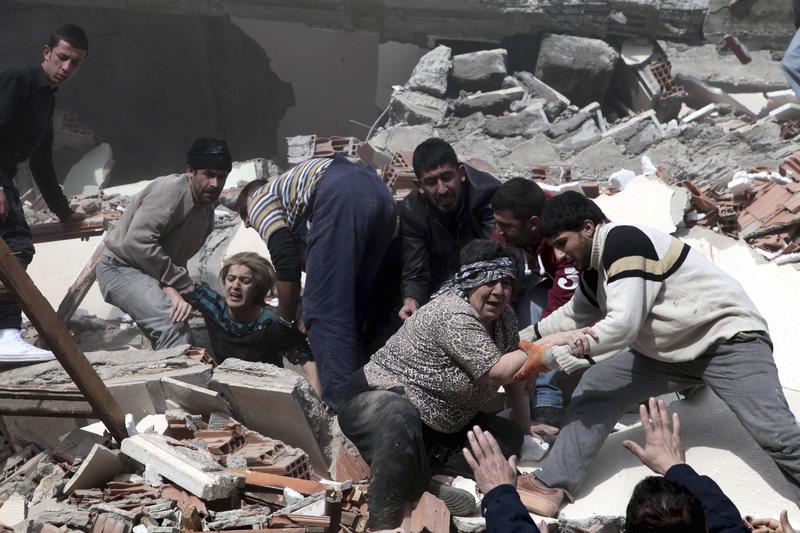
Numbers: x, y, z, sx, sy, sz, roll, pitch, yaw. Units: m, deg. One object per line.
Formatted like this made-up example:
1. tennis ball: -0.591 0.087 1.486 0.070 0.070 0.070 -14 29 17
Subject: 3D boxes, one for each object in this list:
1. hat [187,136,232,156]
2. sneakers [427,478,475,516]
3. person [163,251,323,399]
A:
1. hat: -1.978 -1.196 7.874 0.276 0.189 0.286 11 16 17
2. sneakers: 0.426 1.817 5.800 0.264 0.112 0.267 25 3 -30
3. person: -1.452 0.582 7.129 1.079 1.163 0.393 -8 -19 8
